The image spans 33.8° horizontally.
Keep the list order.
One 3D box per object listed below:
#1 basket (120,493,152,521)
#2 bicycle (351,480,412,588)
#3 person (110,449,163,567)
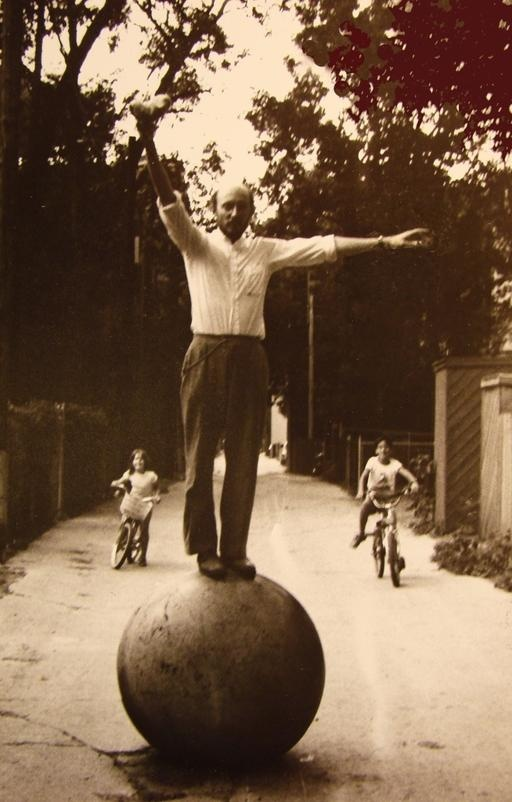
[{"bbox_3d":[-0.875,0.752,6.095,0.141,0.166,0.180,7,-13,1],"label":"basket"},{"bbox_3d":[0.741,0.790,5.007,0.208,0.436,0.573,0,-7,-1],"label":"bicycle"},{"bbox_3d":[-0.892,0.786,6.239,0.233,0.884,0.757,9,4,2],"label":"person"}]
